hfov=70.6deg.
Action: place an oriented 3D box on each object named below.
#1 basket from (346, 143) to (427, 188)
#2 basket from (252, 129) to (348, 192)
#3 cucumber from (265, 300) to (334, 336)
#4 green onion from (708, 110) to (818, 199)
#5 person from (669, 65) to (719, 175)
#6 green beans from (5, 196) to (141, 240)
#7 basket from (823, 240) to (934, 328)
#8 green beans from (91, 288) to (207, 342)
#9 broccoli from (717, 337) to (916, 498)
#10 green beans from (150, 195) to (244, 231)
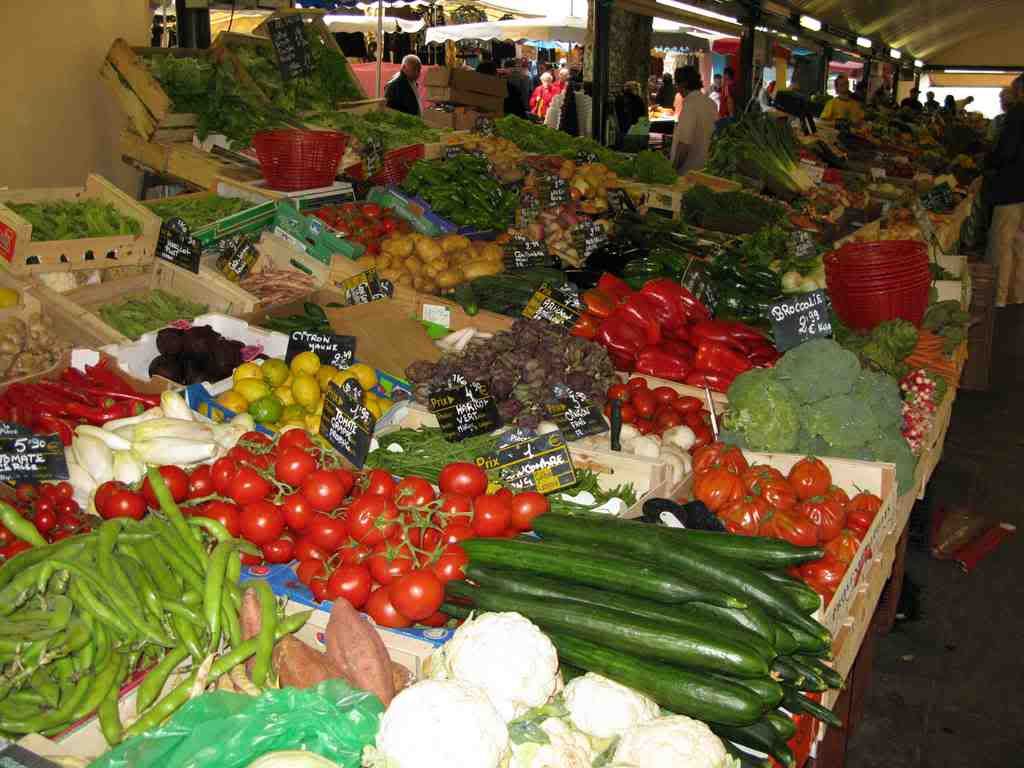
[{"bbox_3d":[-1.111,-1.941,6.430,0.436,0.168,0.550,-12,-2,-32],"label":"basket"},{"bbox_3d":[-1.611,-1.718,5.543,0.650,0.417,0.314,-6,28,-18],"label":"basket"},{"bbox_3d":[-1.185,-0.361,4.104,0.274,0.097,0.348,-9,14,-38],"label":"cucumber"},{"bbox_3d":[3.209,-2.891,9.155,1.190,1.333,1.408,8,20,34],"label":"green onion"},{"bbox_3d":[2.594,-3.757,10.364,0.646,1.464,1.004,7,27,9],"label":"person"},{"bbox_3d":[-2.780,-1.041,4.545,0.525,0.113,0.467,-13,32,-36],"label":"green beans"},{"bbox_3d":[2.446,-0.727,4.859,0.614,0.562,0.679,14,24,33],"label":"basket"},{"bbox_3d":[-2.119,-0.435,4.228,0.534,0.105,0.579,14,27,23],"label":"green beans"},{"bbox_3d":[1.631,0.212,4.186,0.916,0.308,0.874,-31,76,-12],"label":"broccoli"},{"bbox_3d":[-2.280,-1.285,5.291,0.957,0.099,0.569,24,32,39],"label":"green beans"}]
